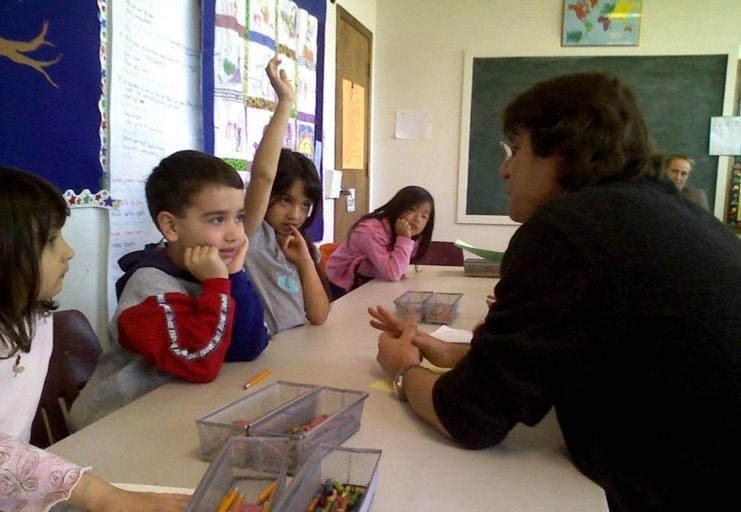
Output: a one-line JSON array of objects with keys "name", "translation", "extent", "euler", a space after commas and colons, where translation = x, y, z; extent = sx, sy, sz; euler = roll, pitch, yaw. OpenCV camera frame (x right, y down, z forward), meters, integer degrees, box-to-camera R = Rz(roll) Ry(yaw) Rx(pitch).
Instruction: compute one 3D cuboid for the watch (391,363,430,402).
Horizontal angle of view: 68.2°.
[{"name": "watch", "translation": [0.087, 0.307, 1.326], "extent": [0.097, 0.098, 0.056], "euler": [11, 27, -5]}]
